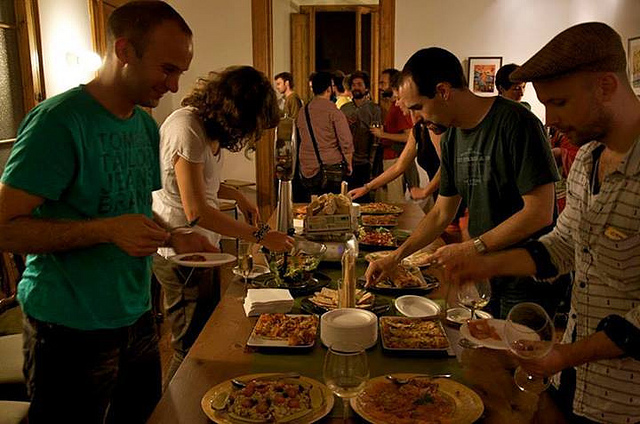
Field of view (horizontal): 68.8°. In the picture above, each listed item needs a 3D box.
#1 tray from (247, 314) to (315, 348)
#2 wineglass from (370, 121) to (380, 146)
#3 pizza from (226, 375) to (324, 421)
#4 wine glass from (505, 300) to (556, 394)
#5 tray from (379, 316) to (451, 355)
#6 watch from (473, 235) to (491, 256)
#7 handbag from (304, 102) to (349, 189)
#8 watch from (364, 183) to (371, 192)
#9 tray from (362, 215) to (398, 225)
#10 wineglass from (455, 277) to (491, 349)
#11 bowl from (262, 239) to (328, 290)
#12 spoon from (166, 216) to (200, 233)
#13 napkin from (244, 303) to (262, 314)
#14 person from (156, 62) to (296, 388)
[{"bbox_3d":[-0.173,0.548,2.187,0.290,0.057,0.274,-1,12,2],"label":"tray"},{"bbox_3d":[0.745,-1.079,6.444,0.117,0.335,0.396,-1,12,6],"label":"wineglass"},{"bbox_3d":[-0.162,0.692,1.730,0.185,0.028,0.155,-3,16,-15],"label":"pizza"},{"bbox_3d":[0.796,0.544,1.795,0.169,0.380,0.264,4,13,27],"label":"wine glass"},{"bbox_3d":[0.436,0.557,2.170,0.315,0.068,0.297,-1,12,4],"label":"tray"},{"bbox_3d":[0.839,0.175,2.424,0.041,0.066,0.067,-34,23,-1],"label":"watch"},{"bbox_3d":[0.061,-0.804,5.650,0.513,1.215,0.529,-7,32,4],"label":"handbag"},{"bbox_3d":[0.443,-0.258,4.394,0.027,0.083,0.079,-28,-17,-5],"label":"watch"},{"bbox_3d":[0.507,0.070,3.957,0.173,0.031,0.129,4,18,14],"label":"tray"},{"bbox_3d":[0.697,0.435,2.162,0.152,0.348,0.158,-6,8,-42],"label":"wineglass"},{"bbox_3d":[-0.134,0.301,2.764,0.275,0.189,0.279,4,9,-1],"label":"bowl"},{"bbox_3d":[-0.828,0.071,2.804,0.212,0.038,0.038,-17,-35,24],"label":"spoon"},{"bbox_3d":[-0.332,0.481,2.340,0.060,0.015,0.060,2,8,-20],"label":"napkin"},{"bbox_3d":[-0.704,0.205,3.156,0.983,2.261,0.932,6,15,-4],"label":"person"}]
